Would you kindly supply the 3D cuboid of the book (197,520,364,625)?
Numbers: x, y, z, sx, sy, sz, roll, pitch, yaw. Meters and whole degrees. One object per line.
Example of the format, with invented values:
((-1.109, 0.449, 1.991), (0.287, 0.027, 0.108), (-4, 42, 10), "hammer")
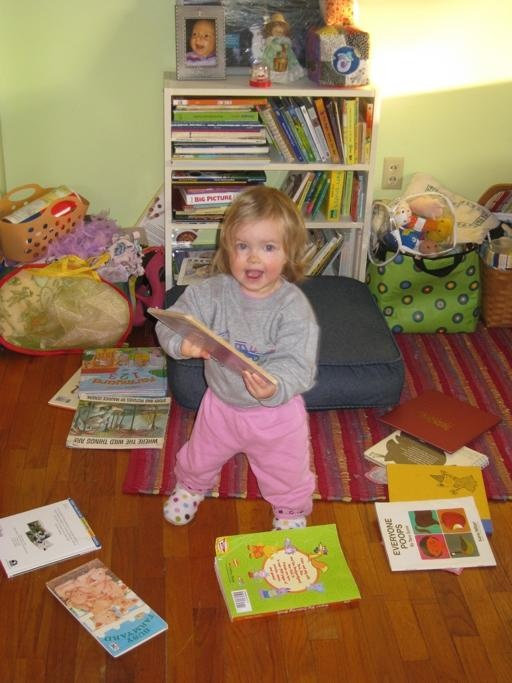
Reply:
((0.059, 0.484, 1.162), (0.280, 0.038, 0.185), (-5, 28, -9), "book")

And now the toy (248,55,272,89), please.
((0.014, -0.904, 1.855), (0.069, 0.071, 0.076), (2, 28, 6), "toy")

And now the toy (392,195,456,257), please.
((0.641, -0.451, 2.088), (0.243, 0.197, 0.258), (1, 28, 3), "toy")

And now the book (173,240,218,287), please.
((-0.253, -0.323, 2.157), (0.241, 0.055, 0.226), (-3, 44, -3), "book")

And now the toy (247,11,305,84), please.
((0.071, -1.078, 1.962), (0.192, 0.200, 0.155), (-20, 59, -14), "toy")

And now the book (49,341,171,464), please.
((-0.430, 0.144, 1.683), (0.309, 0.069, 0.291), (4, 34, 2), "book")

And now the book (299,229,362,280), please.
((0.316, -0.368, 2.193), (0.250, 0.318, 0.096), (0, 72, -2), "book")

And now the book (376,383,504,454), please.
((0.567, 0.227, 1.687), (0.330, 0.318, 0.052), (-2, 39, 25), "book")

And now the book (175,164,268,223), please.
((-0.120, -0.477, 1.753), (0.318, 0.069, 0.297), (0, 27, 1), "book")

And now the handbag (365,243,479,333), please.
((0.666, -0.203, 2.224), (0.491, 0.315, 0.306), (-3, 15, -15), "handbag")

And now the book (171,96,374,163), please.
((0.053, -0.756, 1.961), (0.709, 0.227, 0.168), (-4, 28, -6), "book")

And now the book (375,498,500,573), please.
((0.428, 0.451, 1.308), (0.254, 0.028, 0.316), (-6, 14, 18), "book")
